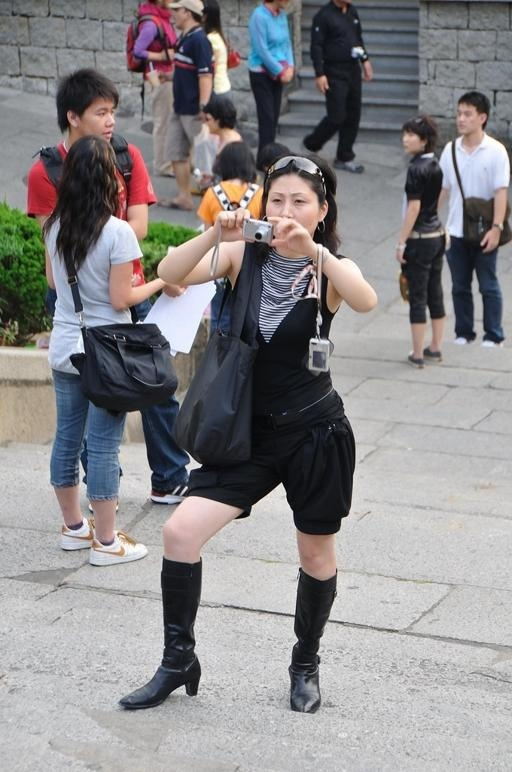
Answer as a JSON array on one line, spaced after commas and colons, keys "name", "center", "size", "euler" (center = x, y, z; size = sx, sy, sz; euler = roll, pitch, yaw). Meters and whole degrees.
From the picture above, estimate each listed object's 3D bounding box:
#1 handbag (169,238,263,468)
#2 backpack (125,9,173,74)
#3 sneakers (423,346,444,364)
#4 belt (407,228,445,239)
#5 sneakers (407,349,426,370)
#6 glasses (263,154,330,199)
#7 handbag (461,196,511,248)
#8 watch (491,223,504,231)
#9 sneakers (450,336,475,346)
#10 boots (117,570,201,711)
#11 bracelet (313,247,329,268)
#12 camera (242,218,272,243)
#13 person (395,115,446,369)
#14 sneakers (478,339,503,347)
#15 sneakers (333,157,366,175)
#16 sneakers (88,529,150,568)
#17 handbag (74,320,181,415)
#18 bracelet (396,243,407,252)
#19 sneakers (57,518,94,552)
[{"name": "handbag", "center": [-0.106, -0.089, 2.214], "size": [0.220, 0.595, 0.341], "euler": [2, 10, -2]}, {"name": "backpack", "center": [-1.182, -3.984, 9.317], "size": [0.565, 0.776, 0.483], "euler": [0, 11, -16]}, {"name": "sneakers", "center": [1.473, -0.244, 6.781], "size": [0.077, 0.075, 0.199], "euler": [-1, 5, -14]}, {"name": "belt", "center": [1.361, -1.206, 6.448], "size": [0.298, 0.089, 0.085], "euler": [-2, 11, -24]}, {"name": "sneakers", "center": [1.302, -0.195, 6.623], "size": [0.078, 0.072, 0.189], "euler": [1, 12, -9]}, {"name": "glasses", "center": [0.106, -0.571, 2.161], "size": [0.130, 0.116, 0.034], "euler": [2, 33, 6]}, {"name": "handbag", "center": [1.867, -1.352, 6.648], "size": [0.461, 0.429, 0.234], "euler": [3, 0, -15]}, {"name": "watch", "center": [1.961, -1.284, 6.620], "size": [0.082, 0.055, 0.090], "euler": [-10, -32, 43]}, {"name": "sneakers", "center": [1.807, -0.386, 7.119], "size": [0.193, 0.080, 0.066], "euler": [-8, 28, 17]}, {"name": "boots", "center": [-0.242, 0.664, 2.141], "size": [0.109, 0.431, 0.246], "euler": [10, 13, 34]}, {"name": "bracelet", "center": [0.169, -0.338, 2.125], "size": [0.044, 0.045, 0.019], "euler": [0, 8, -31]}, {"name": "camera", "center": [0.001, -0.402, 2.099], "size": [0.103, 0.068, 0.061], "euler": [11, 19, 30]}, {"name": "person", "center": [1.329, -1.118, 6.526], "size": [0.356, 1.949, 0.537], "euler": [9, 12, 28]}, {"name": "sneakers", "center": [2.000, -0.358, 6.944], "size": [0.194, 0.076, 0.068], "euler": [0, 22, 11]}, {"name": "sneakers", "center": [1.222, -2.921, 10.783], "size": [0.482, 0.203, 0.161], "euler": [10, 30, 21]}, {"name": "sneakers", "center": [-0.553, 0.659, 3.308], "size": [0.255, 0.131, 0.096], "euler": [-3, 12, -34]}, {"name": "handbag", "center": [-0.502, -0.075, 3.053], "size": [0.373, 0.257, 0.188], "euler": [-4, -11, -42]}, {"name": "bracelet", "center": [1.138, -1.094, 6.406], "size": [0.066, 0.063, 0.065], "euler": [4, 17, -5]}, {"name": "sneakers", "center": [-0.737, 0.627, 3.394], "size": [0.085, 0.094, 0.206], "euler": [2, 5, 19]}]
